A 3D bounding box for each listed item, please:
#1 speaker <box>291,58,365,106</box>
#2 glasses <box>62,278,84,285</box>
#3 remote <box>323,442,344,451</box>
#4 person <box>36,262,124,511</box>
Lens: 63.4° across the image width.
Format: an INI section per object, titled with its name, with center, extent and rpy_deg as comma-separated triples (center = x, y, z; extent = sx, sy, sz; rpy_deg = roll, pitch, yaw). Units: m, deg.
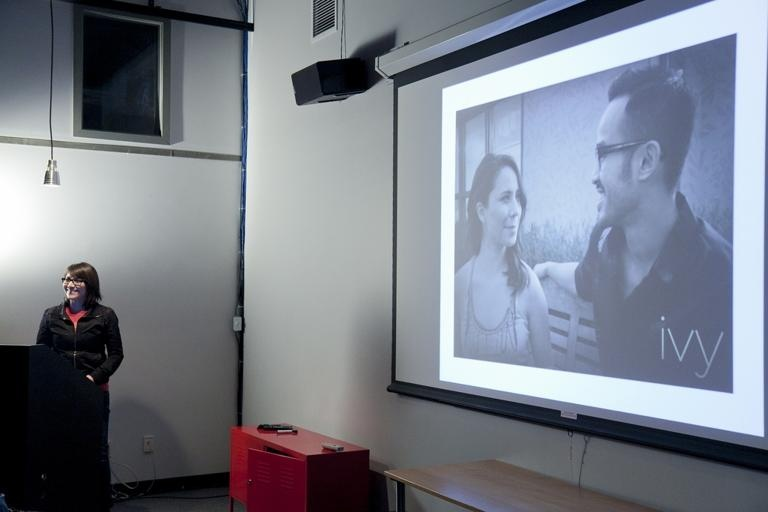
[speaker]
center = -0.382, -1.288, 4.567
extent = 0.582, 0.308, 0.283
rpy_deg = -1, 8, 43
[glasses]
center = -2.436, 0.203, 4.894
extent = 0.079, 0.024, 0.079
rpy_deg = 2, -16, -3
[remote]
center = -0.335, 1.283, 4.168
extent = 0.086, 0.026, 0.054
rpy_deg = 2, -1, 26
[person]
center = -2.302, 1.057, 4.876
extent = 0.621, 2.064, 0.869
rpy_deg = 1, -6, -45
